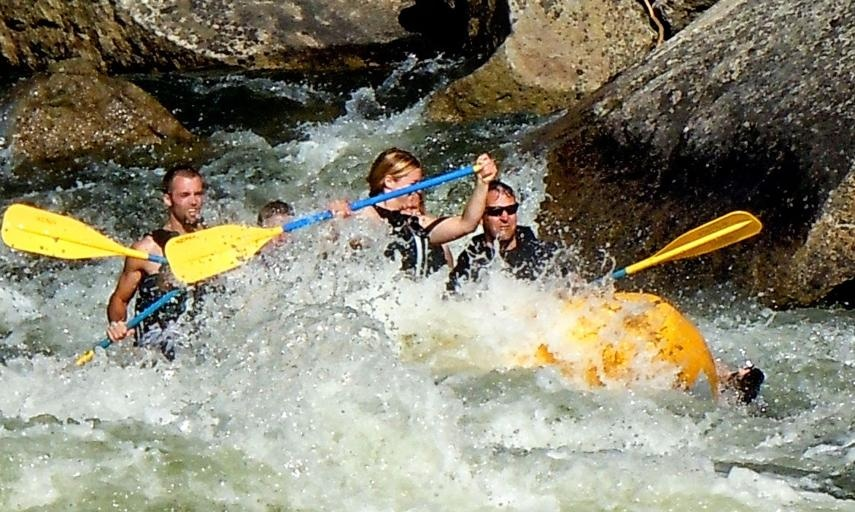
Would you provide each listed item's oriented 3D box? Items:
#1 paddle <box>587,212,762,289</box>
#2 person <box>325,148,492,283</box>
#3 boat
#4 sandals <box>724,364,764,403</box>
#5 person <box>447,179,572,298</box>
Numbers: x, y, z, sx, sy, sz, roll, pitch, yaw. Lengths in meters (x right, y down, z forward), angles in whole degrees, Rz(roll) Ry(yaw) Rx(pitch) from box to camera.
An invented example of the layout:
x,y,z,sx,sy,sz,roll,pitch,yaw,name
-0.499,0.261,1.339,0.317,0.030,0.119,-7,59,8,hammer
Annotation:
x,y,z,sx,sy,sz,roll,pitch,yaw,name
2.120,-0.029,10.775,1.512,0.105,0.208,-24,76,24,paddle
-0.101,-0.304,10.574,0.811,1.396,1.007,-6,93,-51,person
1.527,0.680,10.314,1.428,0.444,0.697,6,61,-4,boat
2.499,0.995,10.209,0.287,0.174,0.262,38,64,13,sandals
0.597,-0.192,10.701,1.125,0.524,0.796,-9,104,-17,person
